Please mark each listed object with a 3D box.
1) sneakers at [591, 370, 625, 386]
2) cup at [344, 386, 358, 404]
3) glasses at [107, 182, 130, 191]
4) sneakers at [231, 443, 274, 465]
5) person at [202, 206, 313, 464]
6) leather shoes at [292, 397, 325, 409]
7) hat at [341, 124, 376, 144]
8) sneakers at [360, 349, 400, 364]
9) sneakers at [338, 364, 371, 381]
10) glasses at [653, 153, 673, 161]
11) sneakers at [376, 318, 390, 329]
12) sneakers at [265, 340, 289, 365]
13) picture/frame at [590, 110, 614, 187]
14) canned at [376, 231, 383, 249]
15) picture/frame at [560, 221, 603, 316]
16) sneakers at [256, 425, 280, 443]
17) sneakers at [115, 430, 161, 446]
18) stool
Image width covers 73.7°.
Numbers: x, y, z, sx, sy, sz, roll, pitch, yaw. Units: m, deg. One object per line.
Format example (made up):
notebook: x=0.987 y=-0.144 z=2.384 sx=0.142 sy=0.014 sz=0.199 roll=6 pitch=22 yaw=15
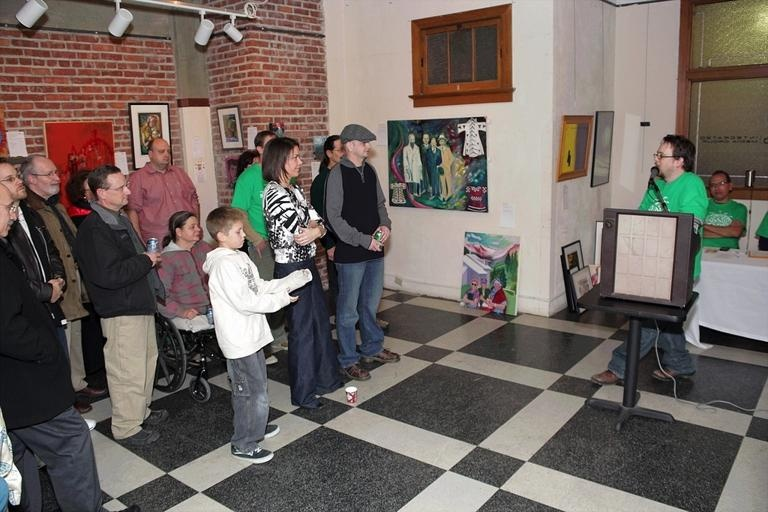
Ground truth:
sneakers: x=2.122 y=1.144 z=4.821 sx=0.306 sy=0.118 sz=0.117 roll=1 pitch=4 yaw=-8
cup: x=-0.291 y=1.248 z=4.653 sx=0.134 sy=0.135 sz=0.138 roll=-1 pitch=7 yaw=0
glasses: x=-2.116 y=-0.558 z=4.090 sx=0.080 sy=0.058 sz=0.180 roll=1 pitch=14 yaw=10
sneakers: x=-1.032 y=1.547 z=4.018 sx=0.310 sy=0.122 sz=0.123 roll=1 pitch=3 yaw=2
person: x=-1.016 y=0.606 z=3.937 sx=0.646 sy=1.911 sz=0.475 roll=-4 pitch=13 yaw=-8
leather shoes: x=-0.663 y=1.304 z=4.568 sx=0.185 sy=0.065 sz=0.128 roll=-6 pitch=11 yaw=-14
hat: x=-0.253 y=-1.159 z=4.856 sx=0.271 sy=0.132 sz=0.190 roll=-4 pitch=14 yaw=9
sneakers: x=-0.042 y=1.031 z=5.386 sx=0.387 sy=0.168 sz=0.155 roll=-1 pitch=4 yaw=3
sneakers: x=-0.288 y=1.126 z=5.046 sx=0.259 sy=0.102 sz=0.131 roll=5 pitch=9 yaw=35
glasses: x=2.453 y=-0.885 z=4.518 sx=0.109 sy=0.079 sz=0.247 roll=-1 pitch=13 yaw=4
sneakers: x=-0.017 y=0.817 z=6.208 sx=0.089 sy=0.064 sz=0.153 roll=-4 pitch=7 yaw=-35
sneakers: x=-1.175 y=1.028 z=5.594 sx=0.185 sy=0.193 sz=0.549 roll=0 pitch=1 yaw=8
picture/frame: x=2.976 y=-1.503 z=6.986 sx=0.088 sy=1.259 sz=0.951 roll=6 pitch=13 yaw=36
canned: x=-0.048 y=-0.159 z=4.866 sx=0.072 sy=0.155 sz=0.119 roll=-1 pitch=13 yaw=2
picture/frame: x=2.340 y=0.158 z=6.116 sx=0.136 sy=0.814 sz=1.072 roll=3 pitch=16 yaw=36
sneakers: x=-0.953 y=1.451 z=4.210 sx=0.066 sy=0.072 sz=0.186 roll=7 pitch=12 yaw=31
sneakers: x=-1.995 y=1.493 z=4.189 sx=0.338 sy=0.130 sz=0.128 roll=-3 pitch=6 yaw=-3
stool: x=2.030 y=0.798 z=4.179 sx=0.746 sy=1.138 sz=0.721 roll=6 pitch=15 yaw=29
